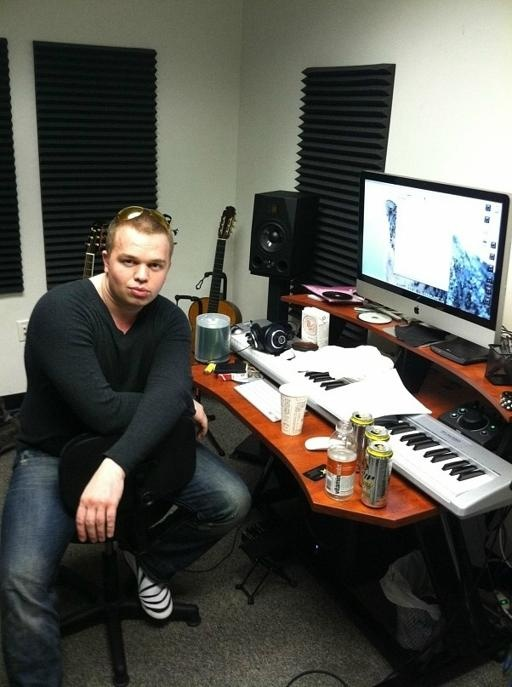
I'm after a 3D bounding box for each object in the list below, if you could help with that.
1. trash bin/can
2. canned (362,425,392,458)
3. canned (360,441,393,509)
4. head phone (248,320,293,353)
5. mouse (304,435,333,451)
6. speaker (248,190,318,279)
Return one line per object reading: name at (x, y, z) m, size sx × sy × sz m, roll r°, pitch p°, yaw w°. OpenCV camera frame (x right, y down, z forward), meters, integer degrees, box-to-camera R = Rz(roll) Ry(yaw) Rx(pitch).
trash bin/can at (0.519, 0.847, 1.792) m, size 0.245 × 0.232 × 0.235 m, roll 8°, pitch 19°, yaw 33°
canned at (0.292, 0.238, 1.361) m, size 0.061 × 0.100 × 0.064 m, roll 4°, pitch 15°, yaw 9°
canned at (0.295, 0.315, 1.322) m, size 0.068 × 0.158 × 0.109 m, roll 6°, pitch 14°, yaw 13°
head phone at (0.071, -0.036, 2.227) m, size 0.118 × 0.082 × 0.157 m, roll 1°, pitch 2°, yaw 36°
mouse at (0.188, 0.291, 1.602) m, size 0.075 × 0.014 × 0.045 m, roll -2°, pitch 22°, yaw -8°
speaker at (0.156, -0.591, 2.938) m, size 0.278 × 0.453 × 0.393 m, roll 8°, pitch 14°, yaw 20°
